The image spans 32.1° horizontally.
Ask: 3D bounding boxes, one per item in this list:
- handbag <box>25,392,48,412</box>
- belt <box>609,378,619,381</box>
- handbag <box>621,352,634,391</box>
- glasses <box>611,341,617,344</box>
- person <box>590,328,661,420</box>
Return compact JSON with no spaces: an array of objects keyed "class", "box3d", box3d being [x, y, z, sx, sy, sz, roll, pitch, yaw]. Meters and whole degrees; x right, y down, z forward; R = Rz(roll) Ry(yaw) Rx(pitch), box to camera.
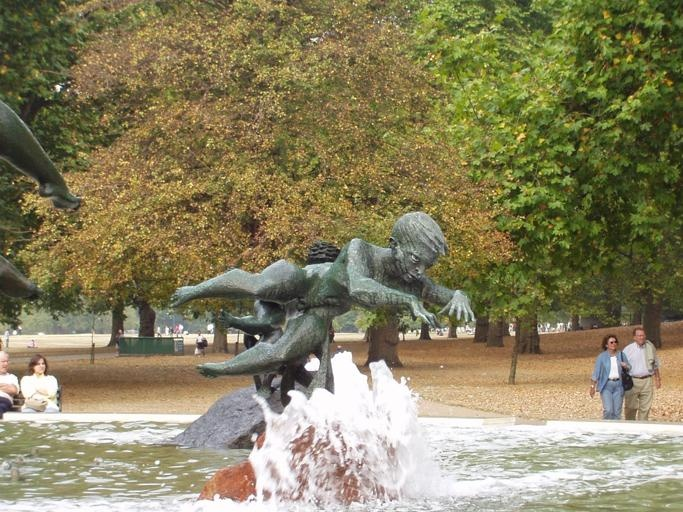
[{"class":"handbag","box3d":[-6.219,2.983,24.071,0.381,0.357,0.165,-1,4,-12]},{"class":"belt","box3d":[6.085,2.747,26.306,0.209,0.075,0.037,-2,-4,-1]},{"class":"handbag","box3d":[6.435,2.749,26.602,0.159,0.534,0.431,-4,-5,27]},{"class":"glasses","box3d":[6.152,1.929,26.619,0.065,0.077,0.434,-4,-5,23]},{"class":"person","box3d":[6.402,2.661,26.632,1.532,2.048,0.660,0,-5,-31]}]
